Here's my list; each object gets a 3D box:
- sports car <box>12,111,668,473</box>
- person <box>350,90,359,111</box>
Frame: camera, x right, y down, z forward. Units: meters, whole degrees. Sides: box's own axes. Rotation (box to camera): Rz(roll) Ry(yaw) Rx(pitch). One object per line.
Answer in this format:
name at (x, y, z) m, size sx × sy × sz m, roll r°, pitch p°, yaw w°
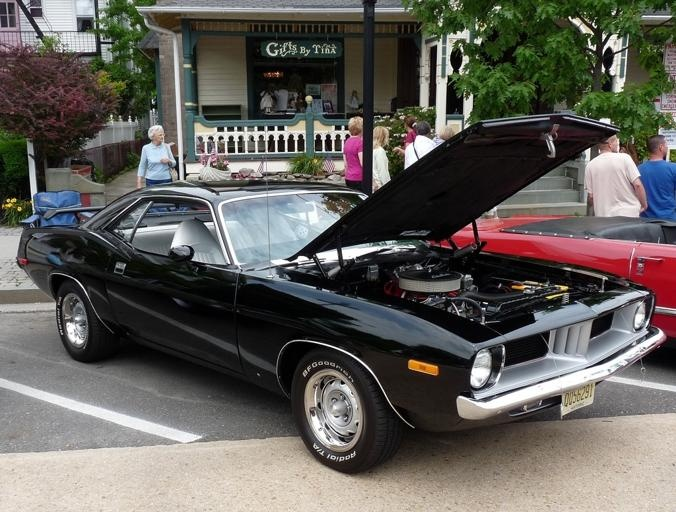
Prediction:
sports car at (-0.650, -0.013, 5.423) m, size 5.745 × 1.969 × 2.370 m, roll 10°, pitch 13°, yaw 39°
person at (0.538, -5.157, 18.949) m, size 0.330 × 0.711 × 0.277 m, roll 1°, pitch 16°, yaw 3°
